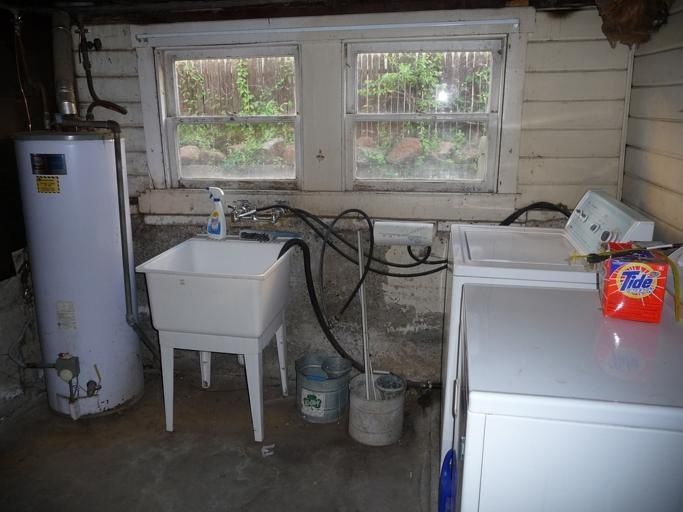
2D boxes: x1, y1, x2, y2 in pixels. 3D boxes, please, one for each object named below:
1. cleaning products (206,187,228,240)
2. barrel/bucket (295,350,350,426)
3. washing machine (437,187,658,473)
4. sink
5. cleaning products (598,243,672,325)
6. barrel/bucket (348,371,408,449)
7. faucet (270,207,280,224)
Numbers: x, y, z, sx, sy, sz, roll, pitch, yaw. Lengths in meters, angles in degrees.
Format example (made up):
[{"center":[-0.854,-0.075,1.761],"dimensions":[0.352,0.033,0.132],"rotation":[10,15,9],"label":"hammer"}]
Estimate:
[{"center":[-0.789,-0.268,3.320],"dimensions":[0.146,0.318,0.079],"rotation":[10,19,35],"label":"cleaning products"},{"center":[-0.112,0.817,3.324],"dimensions":[0.338,0.320,0.274],"rotation":[-1,16,0],"label":"barrel/bucket"},{"center":[0.736,0.336,2.667],"dimensions":[1.085,1.307,1.165],"rotation":[2,15,10],"label":"washing machine"},{"center":[-0.689,0.167,3.136],"dimensions":[0.725,0.442,0.664],"rotation":[1,16,9],"label":"sink"},{"center":[1.055,0.098,2.026],"dimensions":[0.231,0.252,0.238],"rotation":[2,14,8],"label":"cleaning products"},{"center":[0.197,0.888,3.152],"dimensions":[0.312,0.339,0.339],"rotation":[3,13,-1],"label":"barrel/bucket"},{"center":[-0.408,-0.254,3.378],"dimensions":[0.054,0.089,0.107],"rotation":[-1,16,0],"label":"faucet"}]
